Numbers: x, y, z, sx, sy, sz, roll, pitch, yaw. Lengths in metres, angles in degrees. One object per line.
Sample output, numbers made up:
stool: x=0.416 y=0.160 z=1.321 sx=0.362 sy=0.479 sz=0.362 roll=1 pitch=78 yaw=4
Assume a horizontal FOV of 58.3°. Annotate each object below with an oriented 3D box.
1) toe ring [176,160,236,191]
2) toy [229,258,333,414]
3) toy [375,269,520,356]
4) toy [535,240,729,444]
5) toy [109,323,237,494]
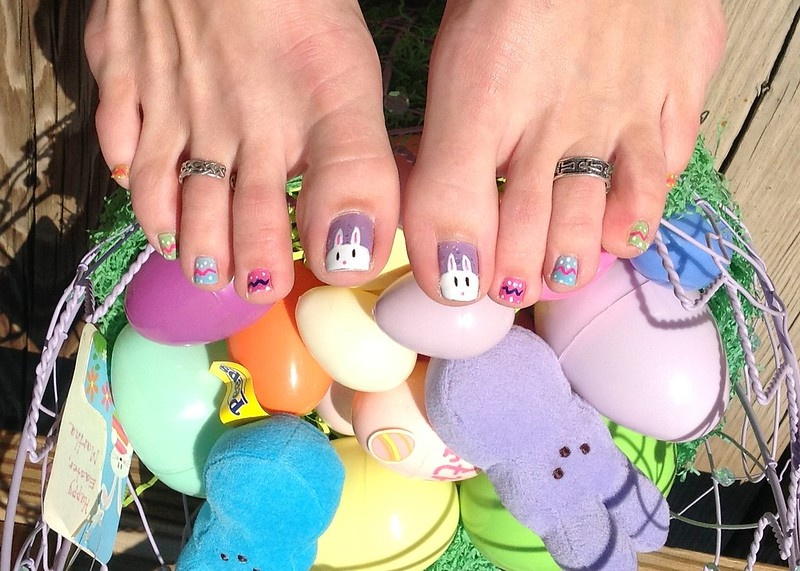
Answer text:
toe ring: x=-0.272 y=-0.164 z=1.004 sx=0.050 sy=0.023 sz=0.051 roll=5 pitch=-9 yaw=1
toy: x=-0.178 y=0.062 z=1.095 sx=0.123 sy=0.225 sz=0.122 roll=5 pitch=0 yaw=9
toy: x=0.060 y=0.021 z=0.993 sx=0.127 sy=0.114 sz=0.085 roll=4 pitch=24 yaw=3
toy: x=0.338 y=0.087 z=1.078 sx=0.254 sy=0.188 sz=0.169 roll=40 pitch=36 yaw=8
toy: x=-0.321 y=0.166 z=1.095 sx=0.140 sy=0.238 sz=0.130 roll=-11 pitch=6 yaw=15
